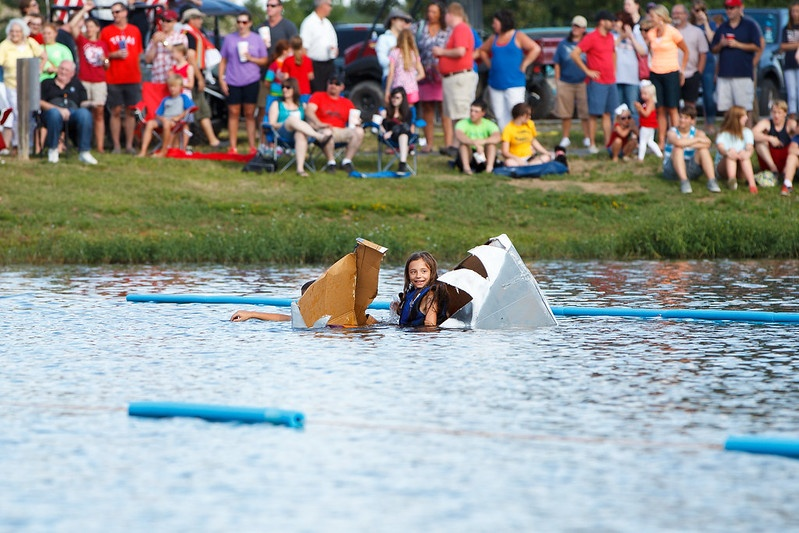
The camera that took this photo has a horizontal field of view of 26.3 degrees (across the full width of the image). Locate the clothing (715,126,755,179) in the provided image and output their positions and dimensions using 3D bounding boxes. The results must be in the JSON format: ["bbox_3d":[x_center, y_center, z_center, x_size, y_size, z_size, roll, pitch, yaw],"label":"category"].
[{"bbox_3d":[5.324,-1.999,27.317,0.601,1.235,0.702,-2,9,21],"label":"clothing"}]

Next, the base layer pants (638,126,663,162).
[{"bbox_3d":[4.214,-2.053,28.814,0.421,0.564,0.543,2,3,21],"label":"base layer pants"}]

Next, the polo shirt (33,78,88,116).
[{"bbox_3d":[-5.614,-2.584,28.478,0.890,0.904,0.505,2,-7,-21],"label":"polo shirt"}]

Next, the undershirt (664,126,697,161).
[{"bbox_3d":[4.542,-1.980,27.742,0.505,0.756,0.389,3,9,13],"label":"undershirt"}]

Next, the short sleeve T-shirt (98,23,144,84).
[{"bbox_3d":[-4.751,-3.617,29.168,0.951,1.341,0.490,-5,10,-32],"label":"short sleeve T-shirt"}]

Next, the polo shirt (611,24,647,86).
[{"bbox_3d":[3.809,-3.400,29.015,0.626,1.668,0.469,-2,-10,12],"label":"polo shirt"}]

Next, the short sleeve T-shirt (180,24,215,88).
[{"bbox_3d":[-3.449,-3.734,29.528,0.323,0.858,0.647,-8,18,6],"label":"short sleeve T-shirt"}]

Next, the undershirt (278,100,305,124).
[{"bbox_3d":[-1.781,-2.540,28.164,0.379,0.389,0.349,-1,2,-29],"label":"undershirt"}]

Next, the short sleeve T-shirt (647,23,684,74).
[{"bbox_3d":[4.419,-3.706,28.858,0.398,0.765,0.638,-11,11,-44],"label":"short sleeve T-shirt"}]

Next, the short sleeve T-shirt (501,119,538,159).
[{"bbox_3d":[2.025,-2.123,28.614,0.599,0.641,0.343,-10,16,-13],"label":"short sleeve T-shirt"}]

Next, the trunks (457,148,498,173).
[{"bbox_3d":[1.195,-1.703,28.447,0.516,0.590,0.352,4,5,16],"label":"trunks"}]

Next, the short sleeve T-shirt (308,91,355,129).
[{"bbox_3d":[-1.142,-2.593,28.417,0.951,0.696,0.493,0,0,-28],"label":"short sleeve T-shirt"}]

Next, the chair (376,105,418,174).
[{"bbox_3d":[-0.054,-2.214,28.329,0.690,1.428,0.667,1,3,0],"label":"chair"}]

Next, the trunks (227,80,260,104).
[{"bbox_3d":[-2.691,-2.942,29.450,0.568,0.609,0.349,0,5,-14],"label":"trunks"}]

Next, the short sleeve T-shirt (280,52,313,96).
[{"bbox_3d":[-1.672,-3.199,28.845,0.480,0.605,0.328,-3,1,0],"label":"short sleeve T-shirt"}]

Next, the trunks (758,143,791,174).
[{"bbox_3d":[5.939,-1.732,27.489,0.497,0.475,0.433,1,3,13],"label":"trunks"}]

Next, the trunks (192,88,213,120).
[{"bbox_3d":[-3.417,-2.818,29.732,0.447,0.666,0.370,-6,1,-14],"label":"trunks"}]

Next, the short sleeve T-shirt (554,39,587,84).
[{"bbox_3d":[2.933,-3.519,29.360,0.715,0.818,0.432,-2,6,-4],"label":"short sleeve T-shirt"}]

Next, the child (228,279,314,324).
[{"bbox_3d":[-1.659,0.451,21.658,0.819,0.585,0.524,0,0,12],"label":"child"}]

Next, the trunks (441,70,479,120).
[{"bbox_3d":[0.996,-2.873,28.757,0.575,0.856,0.424,1,3,1],"label":"trunks"}]

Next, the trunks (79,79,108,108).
[{"bbox_3d":[-5.088,-2.920,28.839,0.594,0.631,0.364,-1,4,-9],"label":"trunks"}]

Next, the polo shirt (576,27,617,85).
[{"bbox_3d":[3.326,-3.587,28.942,0.816,0.881,0.432,-9,10,-38],"label":"polo shirt"}]

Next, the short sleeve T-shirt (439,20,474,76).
[{"bbox_3d":[0.956,-3.610,28.803,0.594,0.942,0.937,2,-2,-1],"label":"short sleeve T-shirt"}]

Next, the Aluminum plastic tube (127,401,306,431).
[{"bbox_3d":[-2.002,1.657,18.840,1.934,0.216,0.147,1,3,8],"label":"Aluminum plastic tube"}]

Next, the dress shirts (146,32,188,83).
[{"bbox_3d":[-4.007,-3.532,29.404,0.687,1.008,0.535,-6,-28,18],"label":"dress shirts"}]

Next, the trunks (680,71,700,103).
[{"bbox_3d":[4.942,-3.109,29.390,0.374,0.583,0.327,10,5,0],"label":"trunks"}]

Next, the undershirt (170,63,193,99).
[{"bbox_3d":[-3.617,-3.191,29.275,0.319,0.575,0.384,-1,12,-36],"label":"undershirt"}]

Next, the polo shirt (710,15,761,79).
[{"bbox_3d":[5.626,-3.702,28.844,0.796,0.974,0.519,-17,12,-39],"label":"polo shirt"}]

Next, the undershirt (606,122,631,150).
[{"bbox_3d":[3.654,-2.187,28.771,0.345,0.543,0.355,17,11,41],"label":"undershirt"}]

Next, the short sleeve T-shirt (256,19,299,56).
[{"bbox_3d":[-2.076,-3.891,29.188,0.661,0.580,0.231,5,-11,-2],"label":"short sleeve T-shirt"}]

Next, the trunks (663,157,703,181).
[{"bbox_3d":[4.593,-1.584,27.938,0.630,0.368,0.439,1,3,9],"label":"trunks"}]

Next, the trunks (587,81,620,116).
[{"bbox_3d":[3.432,-2.866,29.119,0.517,0.583,0.339,1,3,7],"label":"trunks"}]

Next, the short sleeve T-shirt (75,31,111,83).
[{"bbox_3d":[-5.174,-3.493,28.955,0.555,0.751,0.375,1,9,-10],"label":"short sleeve T-shirt"}]

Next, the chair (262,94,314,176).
[{"bbox_3d":[-1.700,-2.277,28.178,0.715,1.716,1.128,0,0,-24],"label":"chair"}]

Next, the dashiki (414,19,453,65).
[{"bbox_3d":[0.559,-3.819,29.189,0.807,0.851,0.483,8,9,19],"label":"dashiki"}]

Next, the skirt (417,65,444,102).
[{"bbox_3d":[0.527,-3.117,29.270,0.598,0.837,0.452,-1,12,-2],"label":"skirt"}]

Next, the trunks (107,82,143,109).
[{"bbox_3d":[-4.707,-2.984,29.365,0.656,0.682,0.372,-3,8,-27],"label":"trunks"}]

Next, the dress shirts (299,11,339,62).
[{"bbox_3d":[-1.374,-3.928,29.194,0.694,0.832,0.229,-1,3,-29],"label":"dress shirts"}]
